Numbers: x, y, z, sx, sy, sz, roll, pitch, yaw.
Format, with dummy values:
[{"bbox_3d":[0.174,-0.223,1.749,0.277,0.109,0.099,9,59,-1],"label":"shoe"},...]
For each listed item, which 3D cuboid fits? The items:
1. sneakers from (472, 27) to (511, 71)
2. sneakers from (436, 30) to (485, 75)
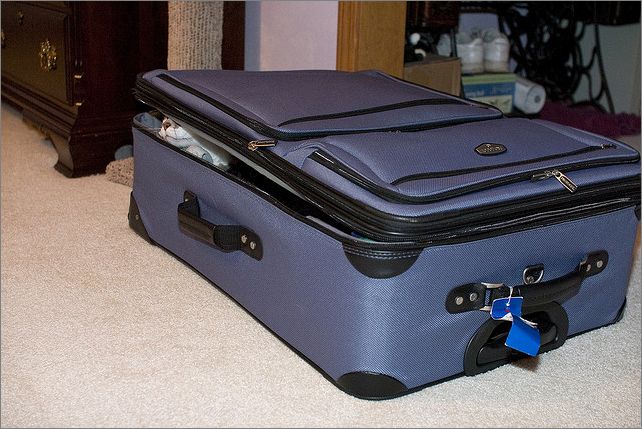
[{"bbox_3d":[0.839,-0.813,2.989,0.152,0.199,0.424,-6,19,0],"label":"sneakers"},{"bbox_3d":[0.664,-0.797,2.898,0.150,0.169,0.394,-9,27,-13],"label":"sneakers"}]
